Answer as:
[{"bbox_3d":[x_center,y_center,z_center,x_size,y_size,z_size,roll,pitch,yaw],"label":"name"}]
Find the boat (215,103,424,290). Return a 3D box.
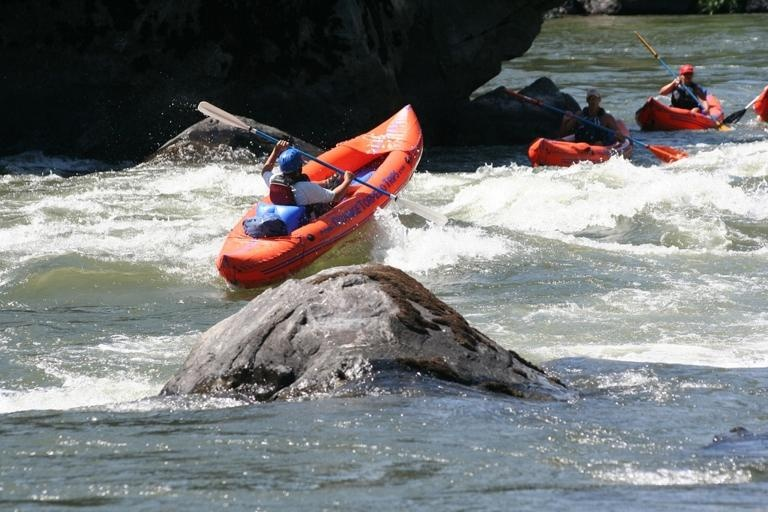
[{"bbox_3d":[-0.796,-0.936,25.922,1.674,0.779,4.842,31,46,27],"label":"boat"}]

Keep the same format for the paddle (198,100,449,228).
[{"bbox_3d":[-1.254,-1.591,27.566,5.355,0.303,0.518,24,-18,-2],"label":"paddle"}]

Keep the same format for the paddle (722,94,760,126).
[{"bbox_3d":[7.958,-3.199,34.330,1.559,0.064,0.203,-37,59,-21],"label":"paddle"}]

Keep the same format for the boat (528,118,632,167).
[{"bbox_3d":[3.894,-2.123,29.385,1.620,0.379,0.851,-13,25,-34],"label":"boat"}]

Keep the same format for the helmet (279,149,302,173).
[{"bbox_3d":[-1.473,-1.499,24.971,0.368,0.341,0.388,-3,55,4],"label":"helmet"}]

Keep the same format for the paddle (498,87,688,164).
[{"bbox_3d":[4.258,-2.614,31.686,4.335,0.295,0.679,22,40,8],"label":"paddle"}]
